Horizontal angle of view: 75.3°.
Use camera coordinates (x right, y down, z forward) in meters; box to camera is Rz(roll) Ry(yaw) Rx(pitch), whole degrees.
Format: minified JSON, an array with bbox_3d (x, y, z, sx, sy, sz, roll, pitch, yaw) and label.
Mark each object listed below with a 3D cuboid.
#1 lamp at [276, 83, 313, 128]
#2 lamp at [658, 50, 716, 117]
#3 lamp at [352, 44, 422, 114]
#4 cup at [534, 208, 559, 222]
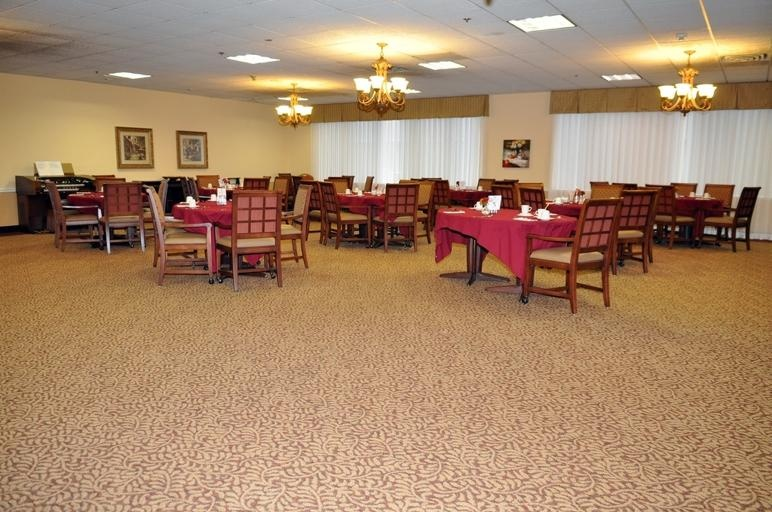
[{"bbox_3d":[-2.111,-3.415,11.516,0.882,0.898,0.908,14,20,35],"label":"lamp"},{"bbox_3d":[4.994,-2.872,8.277,1.013,0.827,0.891,7,18,25],"label":"lamp"},{"bbox_3d":[-0.056,-2.791,7.886,0.972,0.896,0.795,-1,19,-4],"label":"lamp"},{"bbox_3d":[1.901,-0.468,5.847,0.307,0.087,0.243,-3,9,-11],"label":"cup"}]
